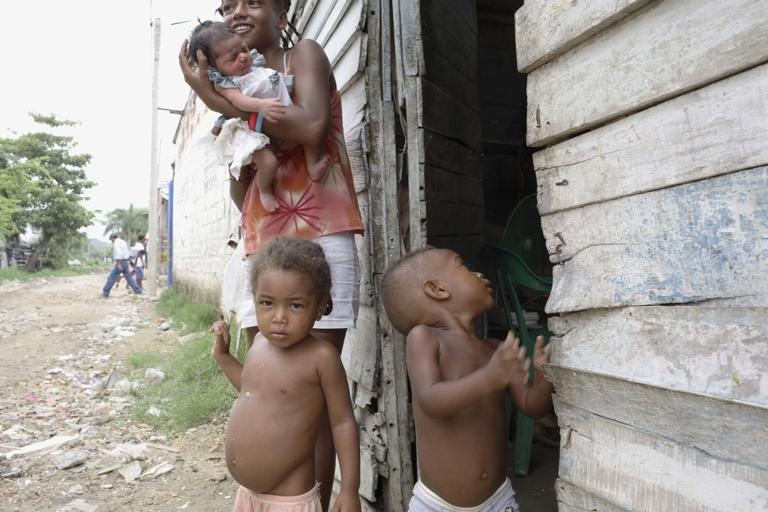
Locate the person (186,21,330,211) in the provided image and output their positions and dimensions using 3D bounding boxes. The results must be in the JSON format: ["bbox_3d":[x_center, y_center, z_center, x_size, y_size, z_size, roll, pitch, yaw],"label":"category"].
[{"bbox_3d":[-0.521,-0.636,2.216,0.478,0.774,0.313,-34,17,-22],"label":"person"}]
